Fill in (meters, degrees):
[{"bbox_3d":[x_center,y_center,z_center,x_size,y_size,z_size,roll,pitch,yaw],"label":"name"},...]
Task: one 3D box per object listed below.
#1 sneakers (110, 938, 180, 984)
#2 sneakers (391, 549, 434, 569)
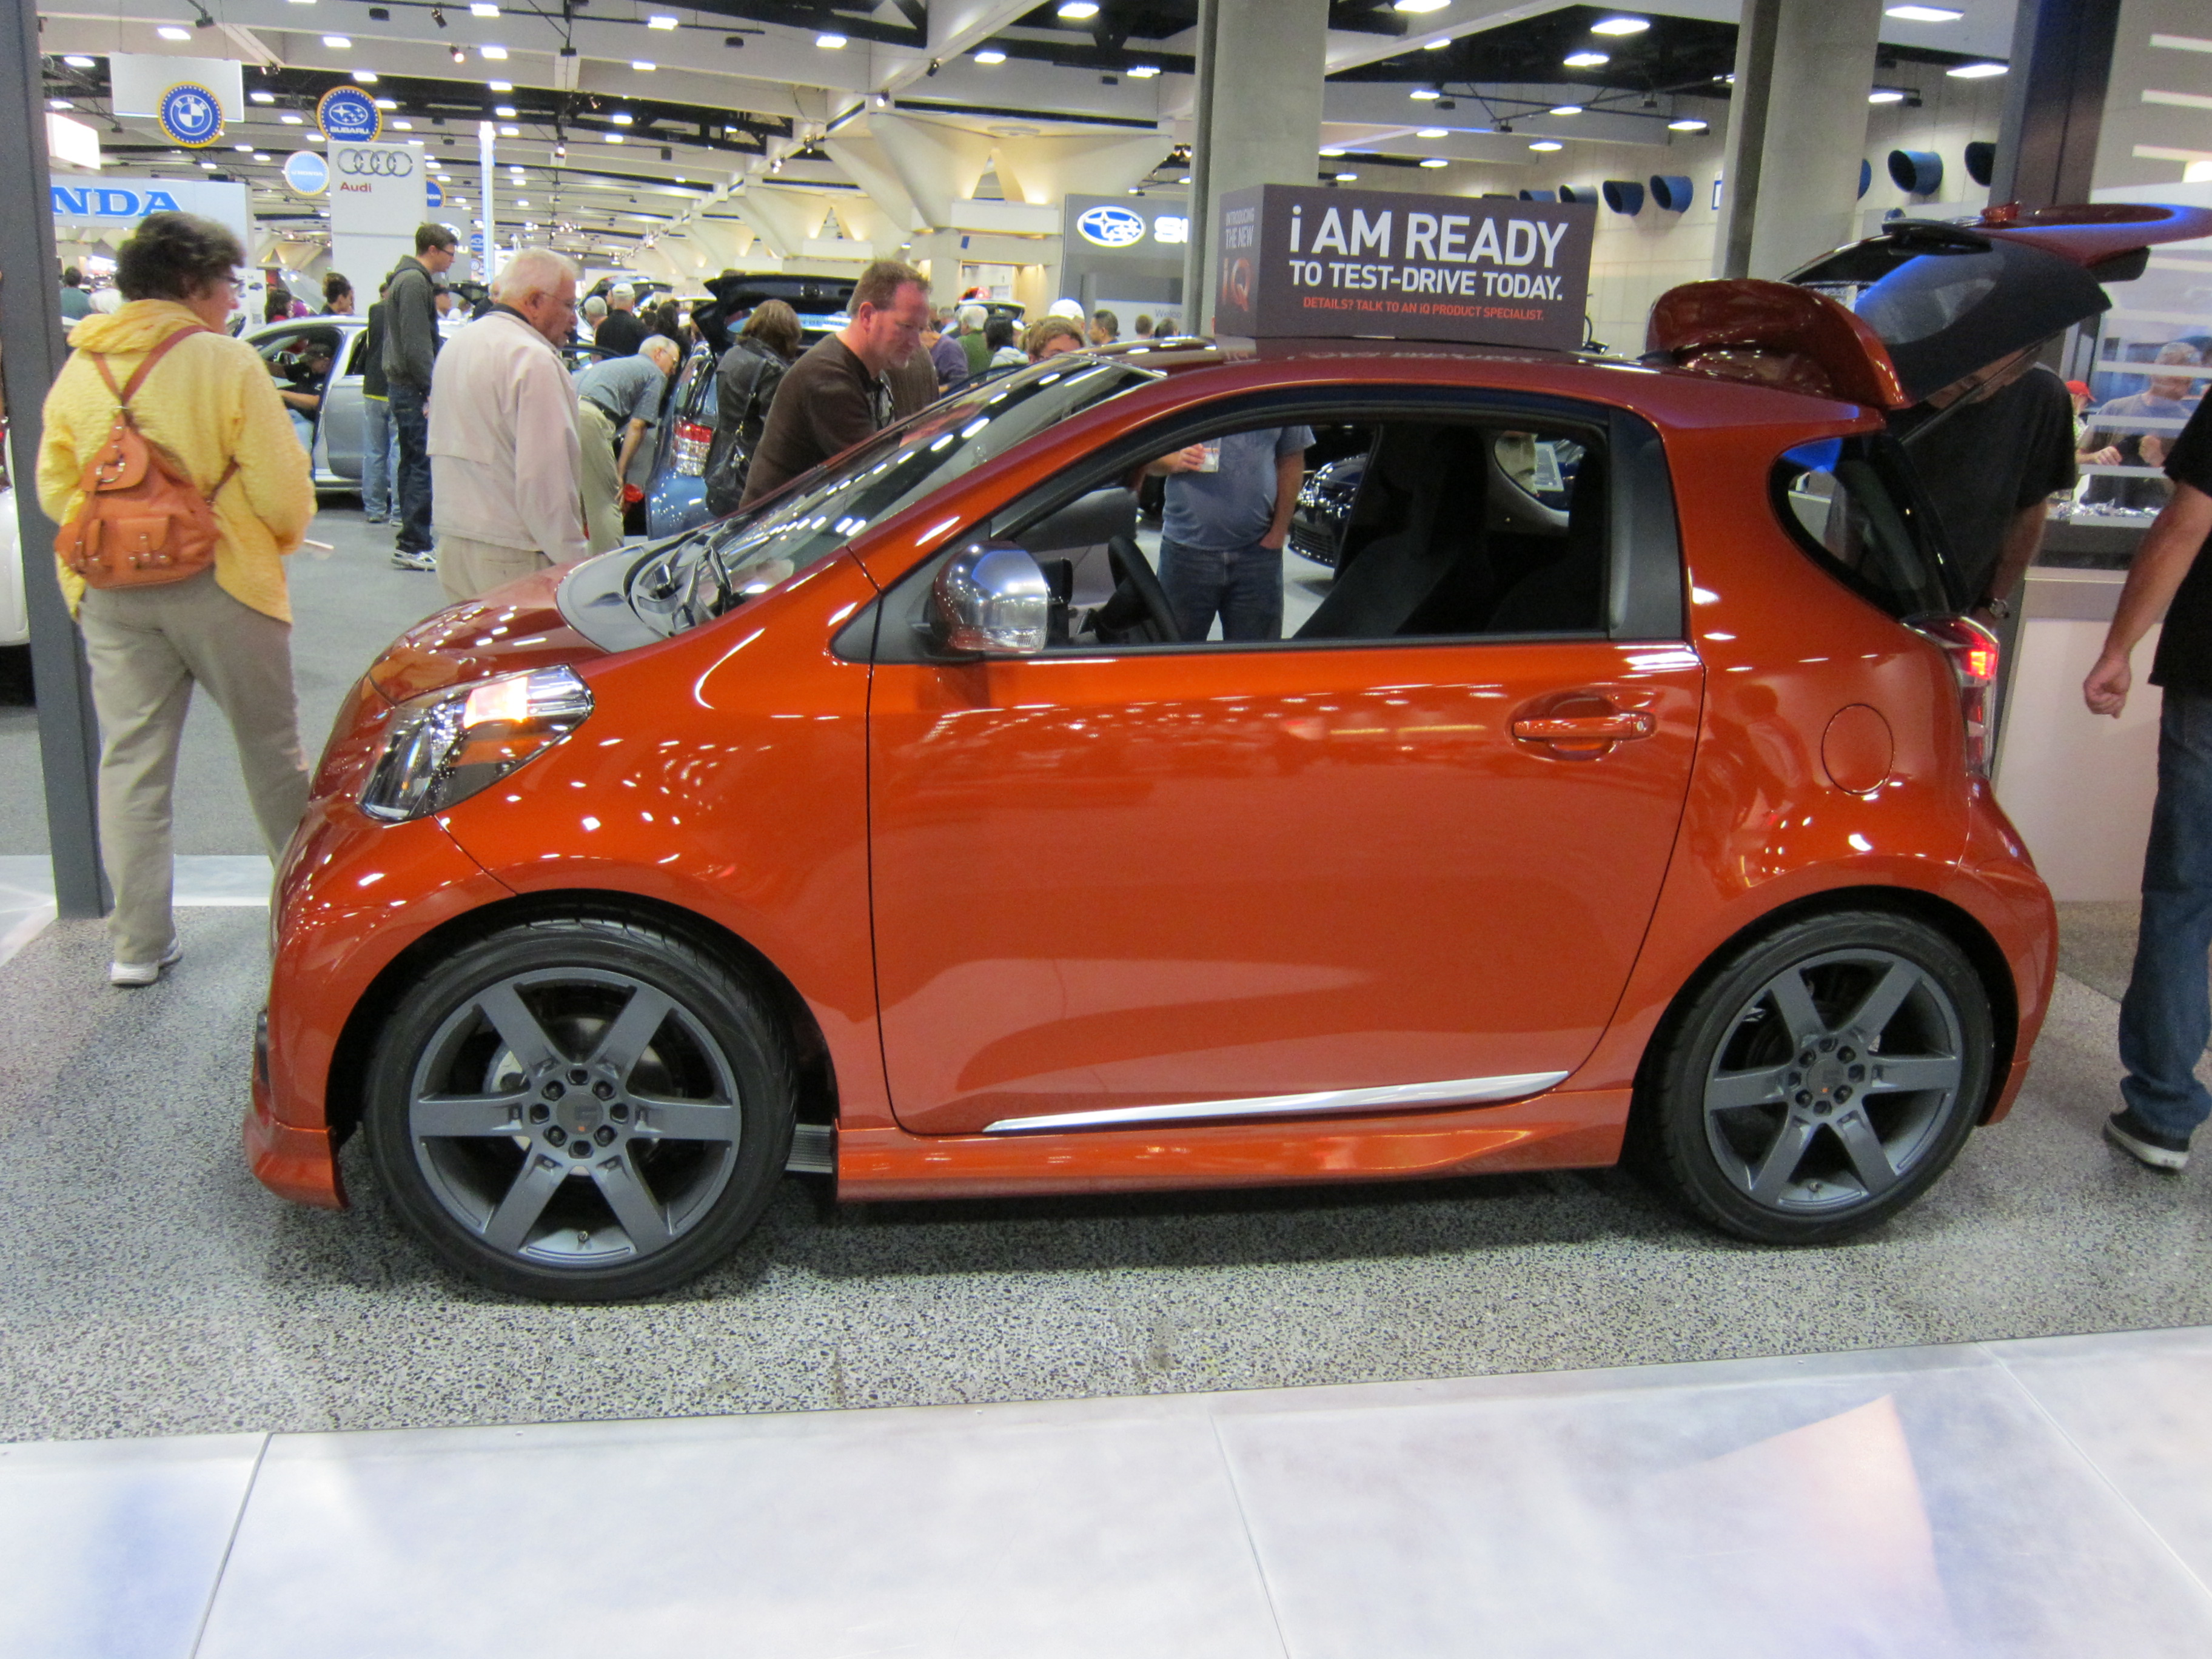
[{"bbox_3d":[-2.818,0.373,4.251,0.084,0.089,0.209,25,22,0],"label":"sneakers"},{"bbox_3d":[-5.260,-2.016,10.775,0.353,0.133,0.124,0,-9,-7],"label":"sneakers"}]
